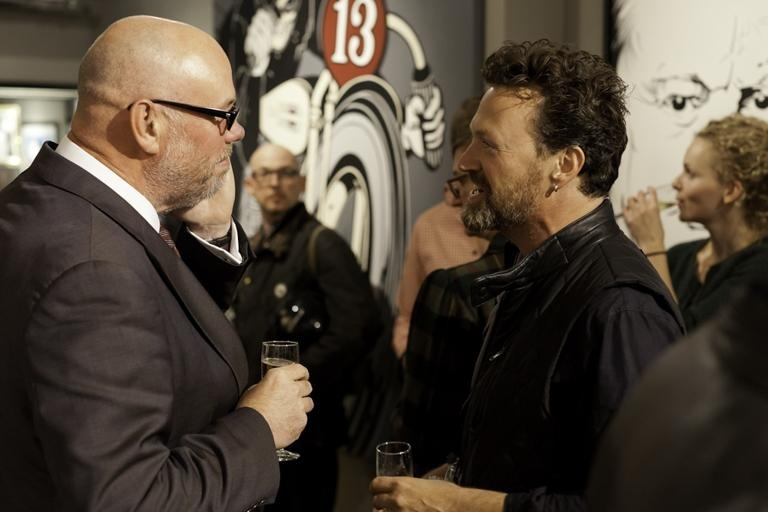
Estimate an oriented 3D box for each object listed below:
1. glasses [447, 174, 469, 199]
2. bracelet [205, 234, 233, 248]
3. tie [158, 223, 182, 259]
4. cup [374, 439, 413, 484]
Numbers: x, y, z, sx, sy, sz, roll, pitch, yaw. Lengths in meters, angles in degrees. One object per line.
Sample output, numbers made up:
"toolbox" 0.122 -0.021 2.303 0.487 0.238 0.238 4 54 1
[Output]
"glasses" 0.265 -0.257 3.037 0.051 0.082 0.069 5 18 0
"bracelet" -0.572 -0.053 2.929 0.061 0.049 0.060 -33 25 -34
"tie" -0.667 -0.045 2.616 0.065 0.098 0.035 -12 17 42
"cup" 0.029 0.615 2.526 0.094 0.108 0.101 0 -5 0
